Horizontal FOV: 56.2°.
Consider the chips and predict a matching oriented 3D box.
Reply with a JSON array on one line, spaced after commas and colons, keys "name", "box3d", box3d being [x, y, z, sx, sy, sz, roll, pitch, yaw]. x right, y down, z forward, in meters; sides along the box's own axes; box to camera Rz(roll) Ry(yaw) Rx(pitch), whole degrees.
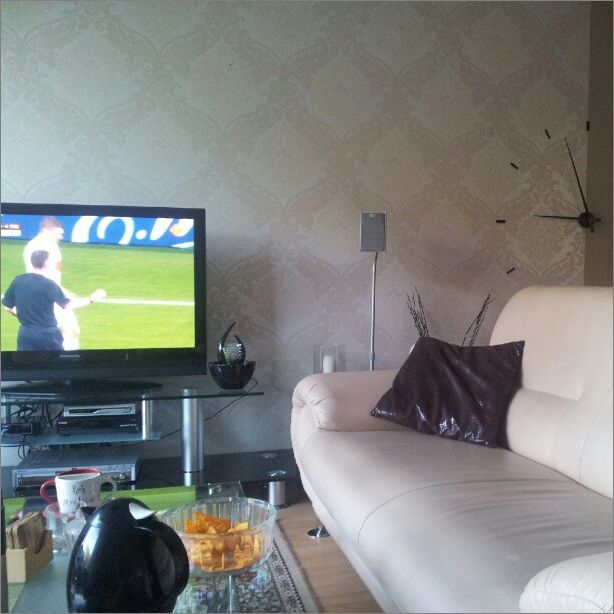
[{"name": "chips", "box3d": [-0.152, 0.438, 1.097, 0.099, 0.093, 0.116, 1, 3, -23]}]

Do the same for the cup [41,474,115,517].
[{"name": "cup", "box3d": [-0.523, 0.400, 1.310, 0.140, 0.099, 0.131, 4, 3, 0]}]

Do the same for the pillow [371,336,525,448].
[{"name": "pillow", "box3d": [0.492, 0.293, 2.049, 0.359, 0.407, 0.438, 2, 6, -10]}]

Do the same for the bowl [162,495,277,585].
[{"name": "bowl", "box3d": [-0.172, 0.435, 1.136, 0.160, 0.154, 0.198, 3, 3, -11]}]
